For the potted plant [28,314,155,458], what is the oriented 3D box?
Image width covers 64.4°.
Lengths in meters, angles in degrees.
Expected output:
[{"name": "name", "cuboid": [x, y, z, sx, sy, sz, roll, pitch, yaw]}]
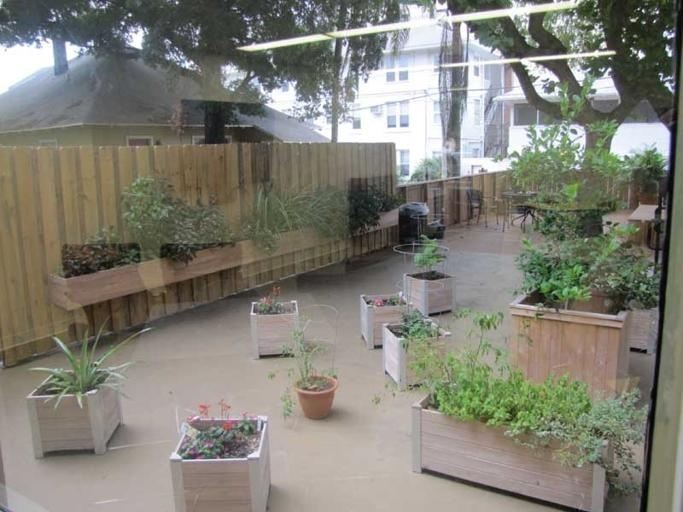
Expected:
[{"name": "potted plant", "cuboid": [-1.747, 0.911, 3.899, 0.735, 0.772, 0.751, -2, 10, -19]}]

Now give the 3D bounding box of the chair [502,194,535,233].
[{"name": "chair", "cuboid": [1.008, -0.249, 3.114, 0.182, 0.215, 0.186, 3, 5, 36]}]

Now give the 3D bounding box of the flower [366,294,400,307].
[{"name": "flower", "cuboid": [0.302, 0.311, 3.852, 0.268, 0.108, 0.132, 0, 9, 2]}]

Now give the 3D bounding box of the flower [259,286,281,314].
[{"name": "flower", "cuboid": [-0.517, 0.319, 3.942, 0.147, 0.258, 0.157, 0, 12, -6]}]

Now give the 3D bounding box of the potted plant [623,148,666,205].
[{"name": "potted plant", "cuboid": [1.555, -0.405, 2.772, 0.176, 0.285, 0.196, -5, -8, 17]}]

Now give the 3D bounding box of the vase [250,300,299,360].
[{"name": "vase", "cuboid": [-0.491, 0.540, 4.144, 0.398, 0.344, 0.419, 0, 12, 8]}]

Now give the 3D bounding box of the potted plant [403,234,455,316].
[{"name": "potted plant", "cuboid": [0.579, 0.134, 3.705, 0.323, 0.521, 0.322, -4, 4, 34]}]

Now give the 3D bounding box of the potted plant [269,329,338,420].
[{"name": "potted plant", "cuboid": [-0.237, 0.805, 3.805, 0.549, 0.608, 0.445, 0, 4, -6]}]

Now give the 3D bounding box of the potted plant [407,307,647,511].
[{"name": "potted plant", "cuboid": [1.130, 0.955, 3.315, 1.066, 0.539, 1.119, 5, 12, 27]}]

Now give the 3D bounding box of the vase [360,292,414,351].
[{"name": "vase", "cuboid": [0.345, 0.486, 4.124, 0.408, 0.342, 0.443, 2, 10, 13]}]

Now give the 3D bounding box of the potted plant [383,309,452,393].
[{"name": "potted plant", "cuboid": [0.539, 0.695, 3.934, 0.516, 0.417, 0.510, -12, 16, -43]}]
